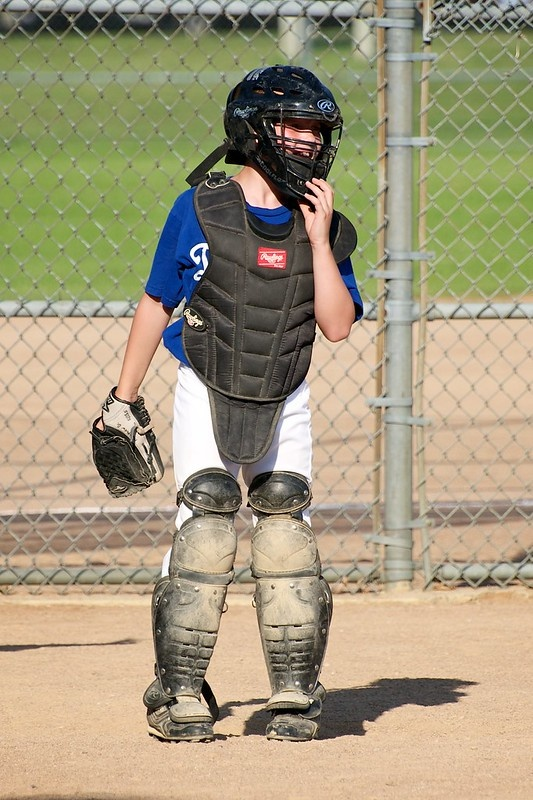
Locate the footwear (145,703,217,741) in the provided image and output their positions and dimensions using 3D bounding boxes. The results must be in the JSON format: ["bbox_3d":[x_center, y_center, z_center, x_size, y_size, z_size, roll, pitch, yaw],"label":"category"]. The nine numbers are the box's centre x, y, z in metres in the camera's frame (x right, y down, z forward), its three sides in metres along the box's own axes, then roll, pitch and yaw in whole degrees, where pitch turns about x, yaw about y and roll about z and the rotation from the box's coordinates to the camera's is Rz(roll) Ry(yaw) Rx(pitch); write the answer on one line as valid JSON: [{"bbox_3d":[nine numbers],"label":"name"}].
[{"bbox_3d":[-0.213,0.842,3.153,0.098,0.069,0.185,7,-15,-28],"label":"footwear"}]

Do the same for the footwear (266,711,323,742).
[{"bbox_3d":[0.060,0.846,3.128,0.069,0.053,0.132,-9,-24,26],"label":"footwear"}]

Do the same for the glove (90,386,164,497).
[{"bbox_3d":[-0.358,0.123,3.332,0.193,0.279,0.135,-15,23,25],"label":"glove"}]

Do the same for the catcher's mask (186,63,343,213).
[{"bbox_3d":[0.016,-0.712,3.198,0.336,0.280,0.372,1,8,-21],"label":"catcher's mask"}]

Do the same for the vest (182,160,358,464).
[{"bbox_3d":[-0.006,-0.171,2.921,0.472,0.617,0.179,8,5,-14],"label":"vest"}]

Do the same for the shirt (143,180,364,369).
[{"bbox_3d":[-0.028,-0.348,3.247,0.651,0.517,0.321,7,15,-19],"label":"shirt"}]
